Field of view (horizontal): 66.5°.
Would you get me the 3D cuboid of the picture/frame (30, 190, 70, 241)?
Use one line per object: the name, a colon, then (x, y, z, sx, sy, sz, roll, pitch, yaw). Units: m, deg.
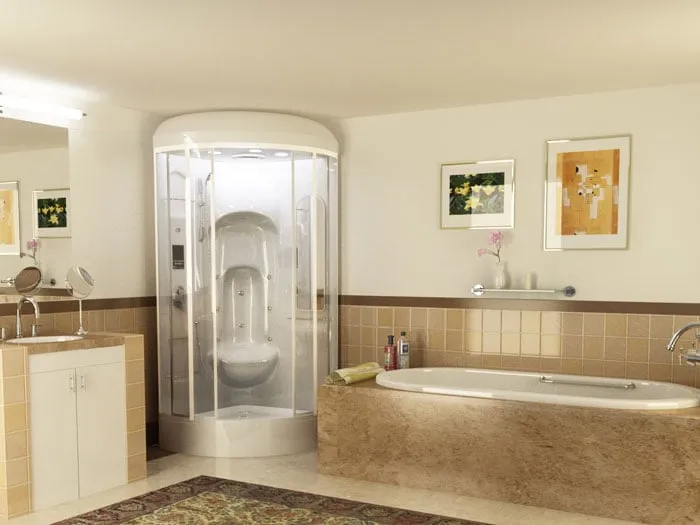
picture/frame: (-2.461, -0.380, 4.361, 0.020, 0.484, 0.437, -4, -4, 32)

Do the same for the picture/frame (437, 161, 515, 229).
picture/frame: (1.173, -0.608, 4.836, 0.678, 0.566, 0.047, 0, 1, 30)

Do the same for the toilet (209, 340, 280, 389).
toilet: (-1.004, 1.000, 5.086, 0.477, 0.248, 0.581, 1, 5, -5)

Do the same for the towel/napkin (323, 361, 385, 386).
towel/napkin: (0.078, 0.955, 4.550, 0.567, 0.103, 0.214, -1, 1, -45)

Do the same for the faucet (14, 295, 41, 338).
faucet: (-2.501, 0.421, 4.168, 0.168, 0.318, 0.192, -1, 1, -36)

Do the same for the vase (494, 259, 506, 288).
vase: (1.331, 0.116, 4.715, 0.093, 0.234, 0.110, 0, 1, 15)

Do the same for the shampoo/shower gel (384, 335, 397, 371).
shampoo/shower gel: (0.380, 0.834, 4.958, 0.109, 0.305, 0.179, 0, 1, 1)

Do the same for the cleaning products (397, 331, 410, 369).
cleaning products: (0.501, 0.807, 4.974, 0.112, 0.329, 0.285, 0, 1, 7)
